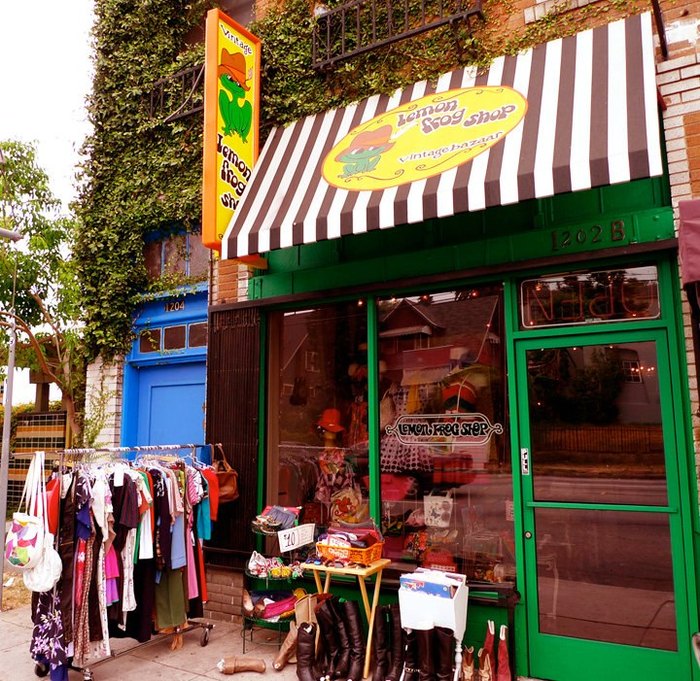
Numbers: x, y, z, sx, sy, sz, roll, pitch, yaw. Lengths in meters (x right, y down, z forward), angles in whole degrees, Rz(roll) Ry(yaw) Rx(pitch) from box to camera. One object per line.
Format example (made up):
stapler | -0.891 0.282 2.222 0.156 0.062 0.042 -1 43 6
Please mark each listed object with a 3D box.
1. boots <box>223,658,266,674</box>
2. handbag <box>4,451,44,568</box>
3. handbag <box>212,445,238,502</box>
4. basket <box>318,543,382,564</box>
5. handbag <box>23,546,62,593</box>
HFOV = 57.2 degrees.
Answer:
boots | -0.861 2.628 5.189 0.292 0.123 0.133 6 2 -8
handbag | -2.447 1.275 4.856 0.261 0.847 0.420 2 -7 -28
handbag | -1.260 1.334 6.525 0.245 0.578 0.371 1 -7 -20
basket | -0.002 1.726 5.179 0.270 0.094 0.243 -2 -10 15
handbag | -2.274 1.689 4.810 0.238 0.358 0.110 -1 -8 -19
